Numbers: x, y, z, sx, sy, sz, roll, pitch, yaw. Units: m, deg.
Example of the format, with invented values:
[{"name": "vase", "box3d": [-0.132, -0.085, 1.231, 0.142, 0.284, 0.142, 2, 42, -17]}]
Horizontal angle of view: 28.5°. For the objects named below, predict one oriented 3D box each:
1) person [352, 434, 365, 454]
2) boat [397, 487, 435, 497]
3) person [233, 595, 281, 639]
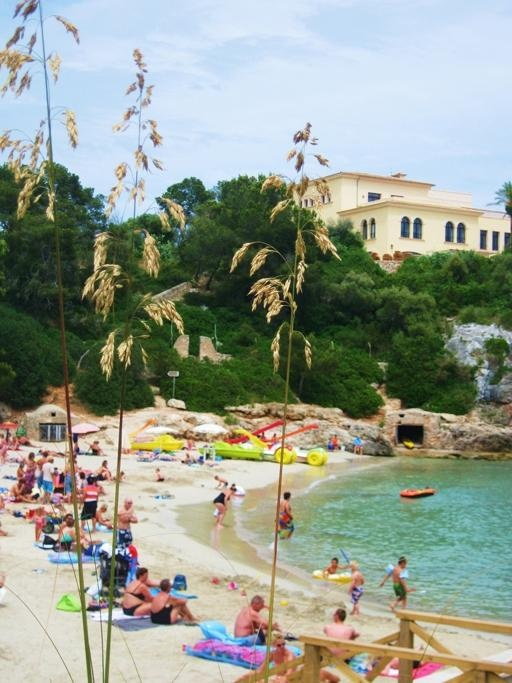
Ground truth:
[{"name": "person", "box3d": [4.669, 4.722, 46.007, 0.490, 0.724, 1.374, 0, -3, 5]}, {"name": "boat", "box3d": [4.874, 4.667, 31.030, 1.456, 0.221, 0.776, 3, -4, -43]}, {"name": "person", "box3d": [-0.036, 3.967, 14.584, 0.432, 0.655, 0.727, 1, -3, -19]}]
